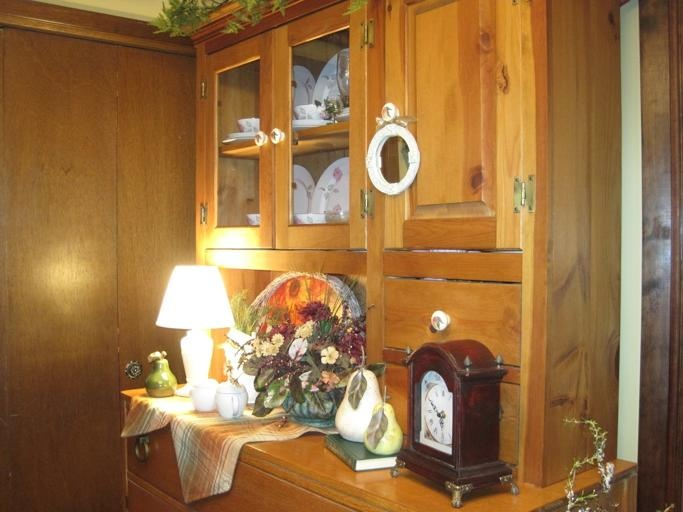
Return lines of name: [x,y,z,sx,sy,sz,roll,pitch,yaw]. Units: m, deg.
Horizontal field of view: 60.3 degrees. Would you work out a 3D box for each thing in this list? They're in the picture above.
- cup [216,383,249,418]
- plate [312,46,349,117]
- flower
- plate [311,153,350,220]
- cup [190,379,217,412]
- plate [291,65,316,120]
cup: [-0.378,0.494,2.015,0.085,0.097,0.121,0,5,-14]
plate: [-0.026,-0.579,1.970,0.043,0.185,0.168,-2,-14,-43]
flower: [-0.069,0.371,2.041,0.437,0.363,0.491,-6,14,35]
plate: [-0.037,-0.225,1.993,0.017,0.209,0.182,0,1,-43]
cup: [-0.488,0.498,2.148,0.088,0.113,0.117,1,-4,5]
plate: [-0.142,-0.589,2.092,0.028,0.154,0.139,-7,32,-44]
